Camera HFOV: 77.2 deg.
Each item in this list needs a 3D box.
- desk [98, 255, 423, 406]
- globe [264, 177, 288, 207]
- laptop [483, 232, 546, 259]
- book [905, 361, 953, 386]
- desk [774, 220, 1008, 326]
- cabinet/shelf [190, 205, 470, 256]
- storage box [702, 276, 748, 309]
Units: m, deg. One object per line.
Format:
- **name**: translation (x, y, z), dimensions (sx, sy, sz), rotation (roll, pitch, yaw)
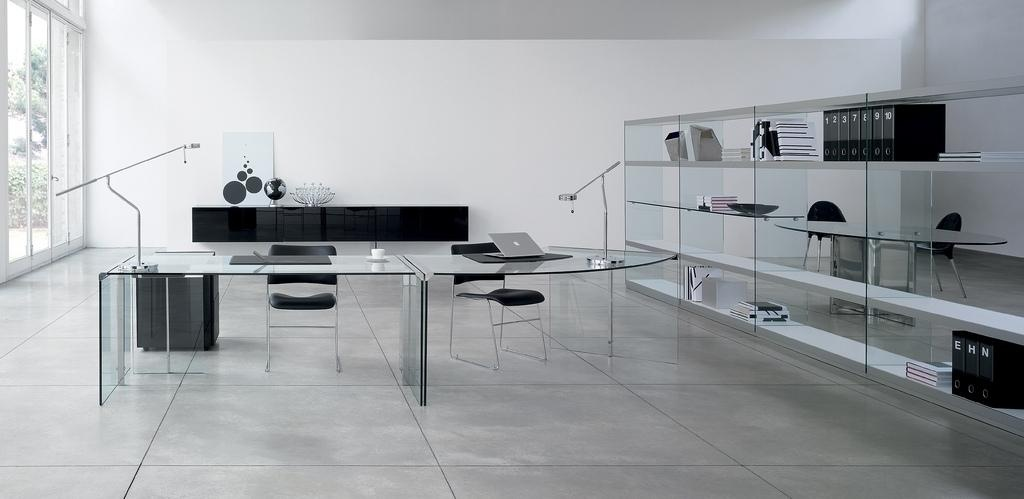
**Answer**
- **desk**: translation (-2.786, 0.779, 7.586), dimensions (3.566, 1.468, 1.541), rotation (-2, 9, -3)
- **globe**: translation (-4.525, -1.120, 12.167), dimensions (0.413, 0.487, 0.309), rotation (-4, 10, -14)
- **laptop**: translation (-0.007, -0.043, 8.209), dimensions (0.614, 0.348, 0.306), rotation (-2, 47, -25)
- **book**: translation (4.208, 1.252, 6.480), dimensions (0.280, 0.076, 0.282), rotation (4, 4, 44)
- **desk**: translation (4.690, 0.227, 7.339), dimensions (1.775, 0.646, 0.812), rotation (8, 9, -15)
- **cabinet/shelf**: translation (-3.400, -0.476, 12.091), dimensions (5.017, 0.794, 0.242), rotation (-2, 10, -6)
- **storage box**: translation (2.819, 0.563, 8.617), dimensions (0.555, 0.294, 0.480), rotation (-1, 4, -13)
